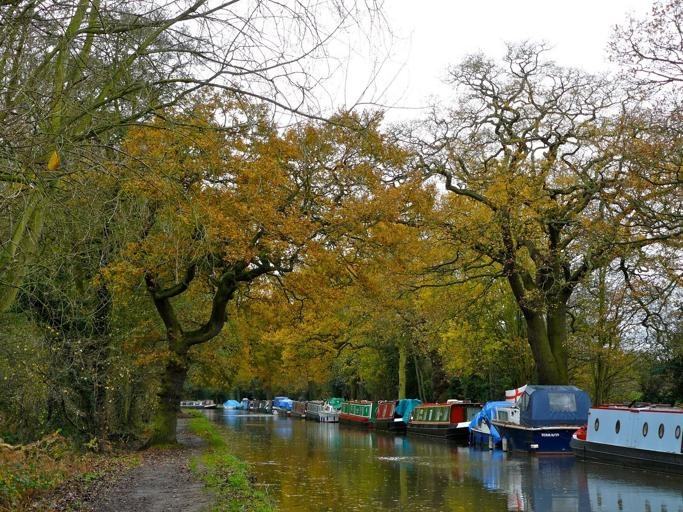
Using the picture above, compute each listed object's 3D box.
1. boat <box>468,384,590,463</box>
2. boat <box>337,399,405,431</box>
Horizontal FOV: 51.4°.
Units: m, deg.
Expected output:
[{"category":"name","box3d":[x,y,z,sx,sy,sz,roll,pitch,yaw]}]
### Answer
[{"category":"boat","box3d":[8.737,7.636,33.845,2.636,2.485,5.915,3,-9,-13]},{"category":"boat","box3d":[2.426,12.154,54.697,1.836,1.902,8.763,2,-12,-11]}]
